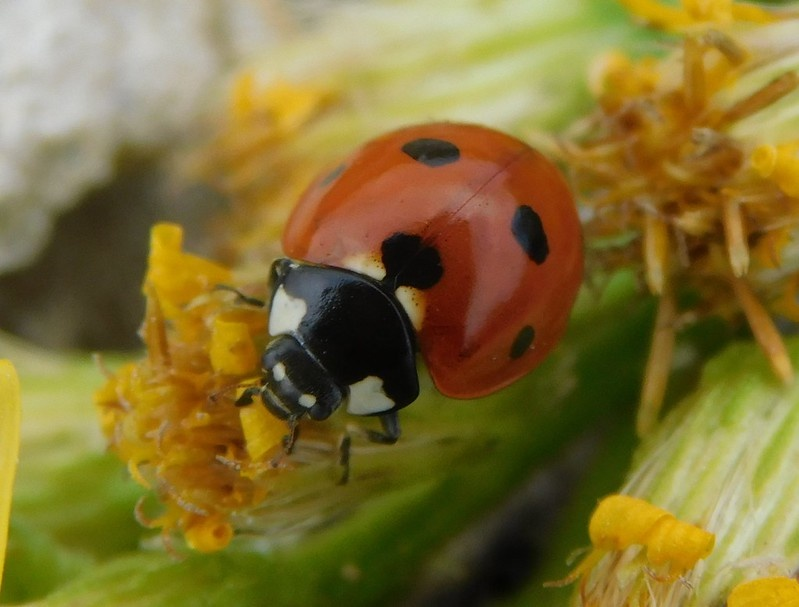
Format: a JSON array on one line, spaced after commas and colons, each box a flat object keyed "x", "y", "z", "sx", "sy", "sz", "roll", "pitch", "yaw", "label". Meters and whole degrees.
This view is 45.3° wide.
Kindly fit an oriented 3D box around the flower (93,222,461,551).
[{"x": -0.269, "y": 0.125, "z": 1.222, "sx": 0.309, "sy": 0.109, "sz": 0.448, "roll": -40, "pitch": 82, "yaw": -5, "label": "flower"}]
